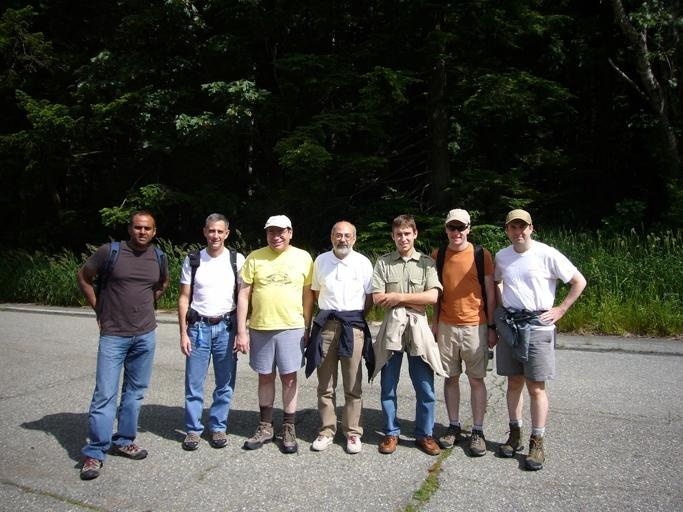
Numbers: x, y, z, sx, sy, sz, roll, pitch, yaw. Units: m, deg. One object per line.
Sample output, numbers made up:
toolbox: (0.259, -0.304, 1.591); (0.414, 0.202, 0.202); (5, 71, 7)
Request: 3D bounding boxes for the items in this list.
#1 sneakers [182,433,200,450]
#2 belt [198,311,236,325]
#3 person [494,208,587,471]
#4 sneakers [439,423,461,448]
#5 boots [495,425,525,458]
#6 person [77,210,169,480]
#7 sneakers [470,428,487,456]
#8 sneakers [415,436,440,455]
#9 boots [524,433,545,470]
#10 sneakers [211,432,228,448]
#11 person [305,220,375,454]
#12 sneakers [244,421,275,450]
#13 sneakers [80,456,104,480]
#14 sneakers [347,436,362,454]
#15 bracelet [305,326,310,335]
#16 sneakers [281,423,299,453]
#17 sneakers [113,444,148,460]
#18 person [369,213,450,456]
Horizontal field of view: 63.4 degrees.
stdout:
sneakers: (-1.675, 2.046, 6.160); (0.200, 0.142, 0.274); (-3, 7, -14)
belt: (-1.403, 0.719, 6.301); (0.403, 0.145, 0.070); (-3, 7, -17)
person: (2.015, 0.820, 5.823); (0.820, 2.578, 0.723); (1, 7, 16)
sneakers: (1.189, 1.998, 6.111); (0.135, 0.156, 0.347); (20, -4, 27)
boots: (1.811, 1.975, 5.947); (0.156, 0.298, 0.409); (3, 1, 44)
person: (-2.312, 0.853, 5.928); (1.103, 2.593, 0.753); (-6, 9, -38)
sneakers: (1.446, 1.994, 5.907); (0.172, 0.234, 0.190); (0, 7, 7)
sneakers: (0.927, 2.058, 6.001); (0.113, 0.098, 0.240); (-4, -2, -25)
boots: (1.990, 1.996, 5.712); (0.198, 0.286, 0.399); (2, 7, 21)
sneakers: (-1.382, 2.047, 6.225); (0.194, 0.125, 0.301); (-3, 7, -13)
person: (-0.014, 0.873, 6.205); (0.800, 2.473, 0.830); (-2, 7, -8)
sneakers: (-0.919, 2.001, 6.197); (0.183, 0.238, 0.408); (4, 8, 35)
sneakers: (-2.520, 2.130, 5.567); (0.199, 0.154, 0.258); (-3, 7, -17)
sneakers: (0.131, 2.038, 6.041); (0.169, 0.159, 0.246); (-1, 7, 1)
bracelet: (-0.392, 0.859, 6.349); (0.061, 0.086, 0.032); (-2, 8, -41)
sneakers: (-0.579, 1.996, 6.105); (0.181, 0.255, 0.331); (-2, 7, -7)
sneakers: (-2.275, 2.084, 5.967); (0.374, 0.177, 0.141); (4, 1, 1)
person: (0.730, 0.833, 6.078); (0.792, 2.526, 0.692); (0, 7, 4)
